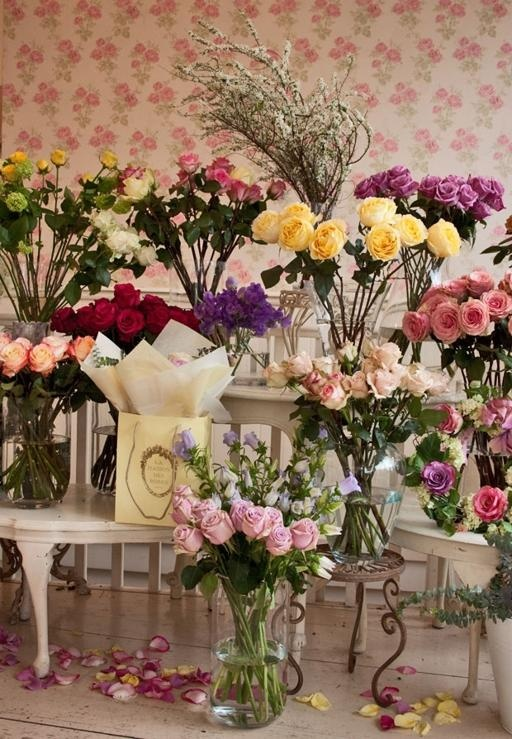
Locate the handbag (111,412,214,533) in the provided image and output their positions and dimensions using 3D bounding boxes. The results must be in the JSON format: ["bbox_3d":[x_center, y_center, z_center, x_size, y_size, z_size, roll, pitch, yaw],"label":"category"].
[{"bbox_3d":[-0.165,0.202,1.280,0.204,0.229,0.160,1,-1,25],"label":"handbag"}]

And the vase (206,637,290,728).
[{"bbox_3d":[-0.036,0.555,1.173,0.176,0.165,0.168,2,-5,-9],"label":"vase"}]
